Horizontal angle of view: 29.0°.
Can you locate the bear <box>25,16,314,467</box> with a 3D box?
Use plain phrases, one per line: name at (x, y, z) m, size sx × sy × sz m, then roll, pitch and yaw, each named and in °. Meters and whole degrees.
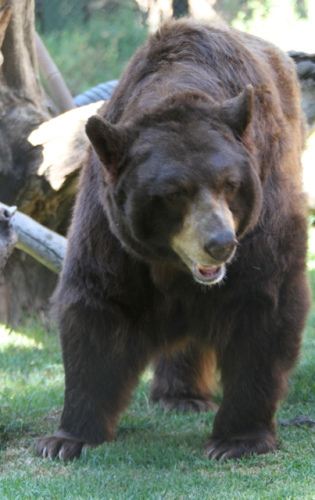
bear at (0.014, -0.099, 2.912) m, size 1.155 × 2.230 × 1.148 m, roll -4°, pitch -3°, yaw 24°
